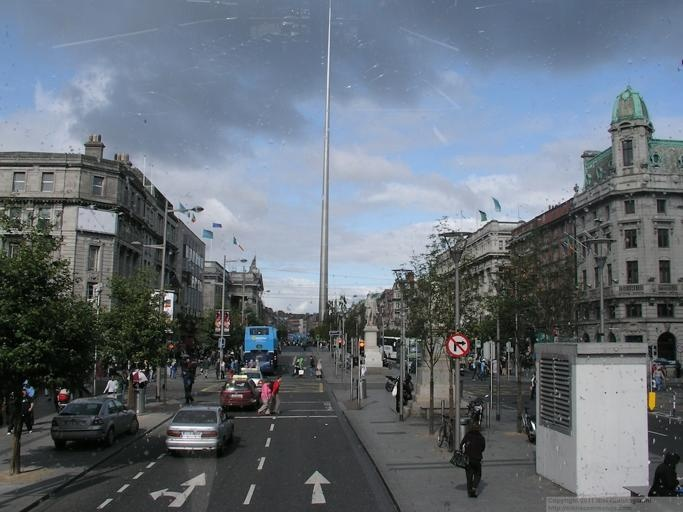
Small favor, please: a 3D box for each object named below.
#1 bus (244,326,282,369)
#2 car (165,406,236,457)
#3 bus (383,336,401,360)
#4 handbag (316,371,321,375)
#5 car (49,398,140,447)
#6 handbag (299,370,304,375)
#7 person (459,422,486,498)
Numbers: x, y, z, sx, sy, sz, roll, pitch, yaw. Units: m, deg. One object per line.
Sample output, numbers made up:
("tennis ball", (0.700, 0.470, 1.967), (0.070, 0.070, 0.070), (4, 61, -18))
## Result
("bus", (-7.690, 8.423, 71.176), (2.019, 2.725, 5.637), (1, 0, -2))
("car", (-5.201, 6.372, 27.168), (1.796, 1.730, 2.169), (-2, -10, 7))
("bus", (6.470, 11.963, 96.583), (2.300, 2.218, 3.675), (2, -14, -8))
("handbag", (-1.996, 10.309, 65.479), (0.369, 0.466, 0.424), (0, -5, 0))
("car", (-9.575, 6.467, 29.018), (1.712, 1.866, 3.472), (-3, -10, 14))
("handbag", (-3.591, 10.407, 66.596), (0.484, 0.533, 0.363), (1, -9, -5))
("person", (4.015, 6.189, 22.691), (0.722, 2.178, 1.060), (-2, -9, 9))
